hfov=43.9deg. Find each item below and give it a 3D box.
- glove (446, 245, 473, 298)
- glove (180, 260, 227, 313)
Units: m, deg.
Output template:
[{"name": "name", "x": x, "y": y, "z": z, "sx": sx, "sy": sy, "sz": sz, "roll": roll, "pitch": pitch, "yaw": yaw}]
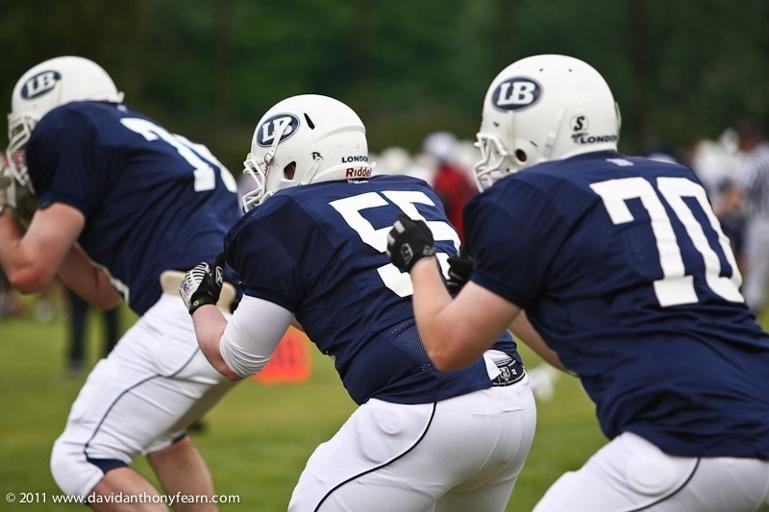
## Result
[{"name": "glove", "x": 0.317, "y": 0.073, "z": 4.112, "sx": 0.076, "sy": 0.193, "sz": 0.143, "roll": 39, "pitch": 28, "yaw": 8}, {"name": "glove", "x": -0.878, "y": 0.140, "z": 4.529, "sx": 0.106, "sy": 0.250, "sz": 0.179, "roll": 44, "pitch": -9, "yaw": -24}]
